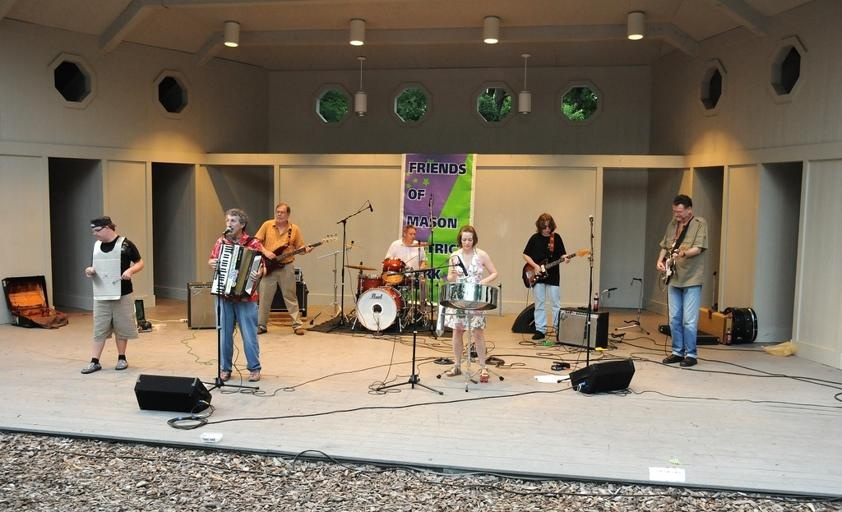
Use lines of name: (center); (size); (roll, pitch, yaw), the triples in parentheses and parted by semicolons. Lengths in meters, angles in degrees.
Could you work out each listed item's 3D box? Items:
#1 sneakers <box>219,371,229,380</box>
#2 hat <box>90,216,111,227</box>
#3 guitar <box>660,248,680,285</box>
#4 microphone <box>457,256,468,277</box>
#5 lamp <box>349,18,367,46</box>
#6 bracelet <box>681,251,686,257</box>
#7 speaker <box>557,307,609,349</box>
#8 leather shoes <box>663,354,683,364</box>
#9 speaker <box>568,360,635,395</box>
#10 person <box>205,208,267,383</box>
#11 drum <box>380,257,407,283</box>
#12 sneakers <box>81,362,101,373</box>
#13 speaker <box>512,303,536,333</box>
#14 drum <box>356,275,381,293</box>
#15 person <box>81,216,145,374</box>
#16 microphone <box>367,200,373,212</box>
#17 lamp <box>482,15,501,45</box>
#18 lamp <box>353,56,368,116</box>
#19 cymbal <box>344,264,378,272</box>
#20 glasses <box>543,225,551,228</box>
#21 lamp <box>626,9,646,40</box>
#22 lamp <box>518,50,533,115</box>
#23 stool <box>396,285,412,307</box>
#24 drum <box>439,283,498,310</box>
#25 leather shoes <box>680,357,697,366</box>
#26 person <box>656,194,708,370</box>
sneakers: (-2.985, 1.791, 10.458); (0.139, 0.114, 0.222); (4, 10, -6)
hat: (-4.858, -0.520, 10.594); (0.296, 0.143, 0.230); (-6, 3, -33)
guitar: (4.062, 0.183, 11.331); (0.110, 0.546, 0.224); (1, 0, -43)
microphone: (0.634, 0.144, 10.317); (0.115, 0.285, 0.095); (-31, 2, 16)
lamp: (-1.235, -4.415, 13.689); (0.464, 0.494, 0.456); (0, -4, -5)
bracelet: (4.217, -0.038, 11.118); (0.068, 0.016, 0.064); (10, 46, 28)
speaker: (2.832, 1.207, 12.025); (1.059, 0.925, 0.659); (-2, -4, 45)
leather shoes: (4.183, 1.705, 11.520); (0.386, 0.157, 0.134); (1, -1, 0)
speaker: (2.647, 1.804, 10.192); (0.774, 0.477, 0.538); (2, -23, -24)
person: (-2.756, 0.581, 10.458); (0.771, 1.911, 0.864); (1, 0, -13)
drum: (-0.497, 0.286, 12.518); (0.442, 0.409, 0.434); (11, -25, -26)
sneakers: (-5.081, 1.733, 10.711); (0.302, 0.121, 0.108); (2, 1, -26)
speaker: (2.009, 1.205, 13.415); (0.557, 0.461, 0.259); (0, 15, -20)
drum: (-0.965, 0.498, 12.934); (0.354, 0.251, 0.351); (1, 1, 0)
person: (-4.732, 0.598, 10.657); (0.805, 1.600, 0.491); (1, 0, -14)
microphone: (-0.983, -0.993, 13.891); (0.100, 0.316, 0.311); (-7, 5, 2)
lamp: (1.358, -4.394, 13.444); (0.460, 0.487, 0.450); (0, -3, -13)
lamp: (-1.376, -3.948, 16.327); (0.282, 1.083, 1.159); (1, 0, -5)
cymbal: (-1.095, 0.216, 12.998); (0.343, 0.085, 0.336); (8, -2, -15)
glasses: (2.283, -0.525, 12.412); (0.144, 0.068, 0.063); (1, 0, -4)
lamp: (4.028, -4.403, 13.171); (0.468, 0.502, 0.460); (-1, 0, -2)
lamp: (2.386, -3.862, 15.812); (0.312, 1.214, 1.087); (1, 0, 8)
stool: (-0.296, 0.744, 12.811); (0.348, 0.324, 0.351); (0, 0, 38)
drum: (0.672, 0.559, 9.673); (0.490, 0.185, 0.489); (5, -23, 2)
leather shoes: (4.387, 1.732, 11.349); (0.116, 0.123, 0.315); (-4, -7, 35)
person: (4.285, 0.391, 11.372); (0.715, 2.825, 0.606); (1, 0, 34)
